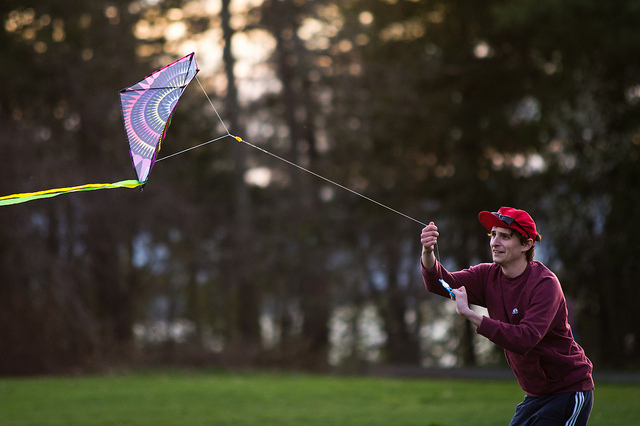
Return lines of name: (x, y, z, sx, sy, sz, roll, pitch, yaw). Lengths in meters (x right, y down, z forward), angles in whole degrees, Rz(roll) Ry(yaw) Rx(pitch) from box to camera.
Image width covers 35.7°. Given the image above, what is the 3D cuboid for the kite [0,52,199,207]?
kite: (-2.930, -1.316, 14.896, 2.164, 2.185, 0.411, -2, -13, 1)
